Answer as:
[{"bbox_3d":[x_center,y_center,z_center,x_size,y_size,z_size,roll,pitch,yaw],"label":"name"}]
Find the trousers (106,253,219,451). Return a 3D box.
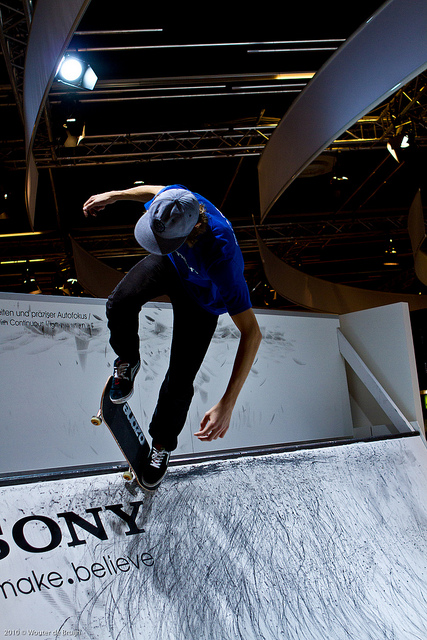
[{"bbox_3d":[-0.296,0.189,2.201,0.579,1.022,0.259,15,9,-16],"label":"trousers"}]

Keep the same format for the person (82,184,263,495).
[{"bbox_3d":[-0.206,0.181,1.990,0.643,0.975,0.693,15,10,-16],"label":"person"}]
